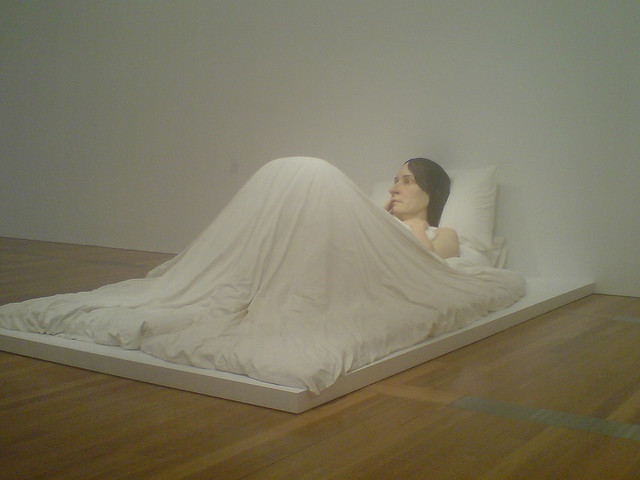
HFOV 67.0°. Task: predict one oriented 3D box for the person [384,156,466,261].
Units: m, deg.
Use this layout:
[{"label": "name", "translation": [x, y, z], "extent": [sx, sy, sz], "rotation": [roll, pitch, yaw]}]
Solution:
[{"label": "person", "translation": [0.693, -0.188, 3.110], "extent": [0.395, 0.513, 0.770], "rotation": [12, -2, -17]}]
